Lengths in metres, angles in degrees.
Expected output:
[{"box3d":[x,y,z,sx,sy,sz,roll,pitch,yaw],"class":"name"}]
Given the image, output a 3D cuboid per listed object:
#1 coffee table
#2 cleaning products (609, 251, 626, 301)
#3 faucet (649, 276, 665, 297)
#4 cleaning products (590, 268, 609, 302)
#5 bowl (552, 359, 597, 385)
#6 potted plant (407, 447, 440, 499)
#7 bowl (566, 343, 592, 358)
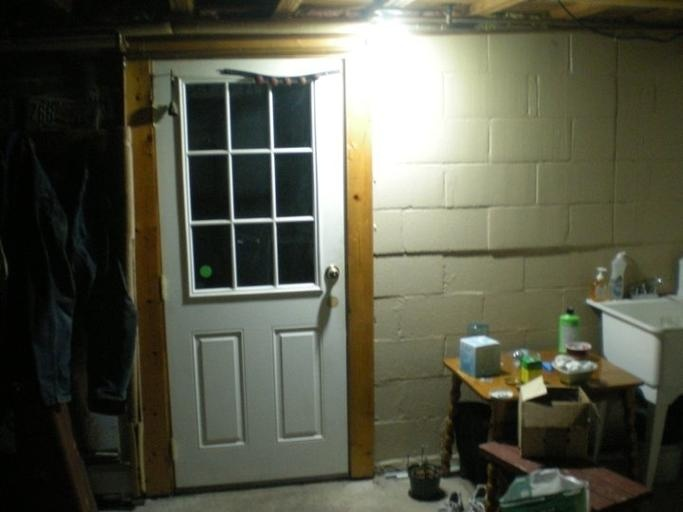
[{"box3d":[1.133,0.920,3.644,0.842,0.694,0.842,-1,13,-5],"class":"coffee table"},{"box3d":[1.741,0.115,4.250,0.126,0.286,0.071,-2,8,3],"class":"cleaning products"},{"box3d":[2.002,0.187,4.280,0.081,0.127,0.033,-1,5,2],"class":"faucet"},{"box3d":[1.633,0.181,4.253,0.092,0.222,0.075,-6,19,-2],"class":"cleaning products"},{"box3d":[1.284,0.622,3.709,0.127,0.068,0.175,-3,8,-6],"class":"bowl"},{"box3d":[0.495,1.293,4.023,0.188,0.254,0.214,-2,5,10],"class":"potted plant"},{"box3d":[1.342,0.532,3.872,0.090,0.068,0.094,-1,-5,0],"class":"bowl"}]
